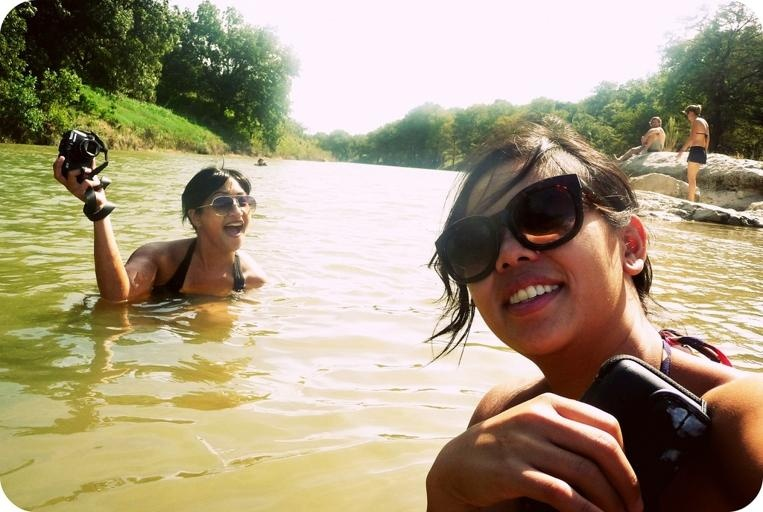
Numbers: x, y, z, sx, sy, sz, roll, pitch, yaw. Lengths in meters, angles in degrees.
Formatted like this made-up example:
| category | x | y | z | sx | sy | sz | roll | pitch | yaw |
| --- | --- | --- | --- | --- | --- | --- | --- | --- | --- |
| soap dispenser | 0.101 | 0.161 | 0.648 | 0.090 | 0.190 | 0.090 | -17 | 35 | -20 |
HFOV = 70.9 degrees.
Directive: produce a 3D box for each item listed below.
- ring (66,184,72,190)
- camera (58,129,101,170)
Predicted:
| category | x | y | z | sx | sy | sz | roll | pitch | yaw |
| --- | --- | --- | --- | --- | --- | --- | --- | --- | --- |
| ring | -2.591 | -0.562 | 4.438 | 0.040 | 0.055 | 0.099 | 0 | 12 | -33 |
| camera | -2.520 | -0.880 | 4.423 | 0.293 | 0.318 | 0.341 | 15 | 4 | 35 |
